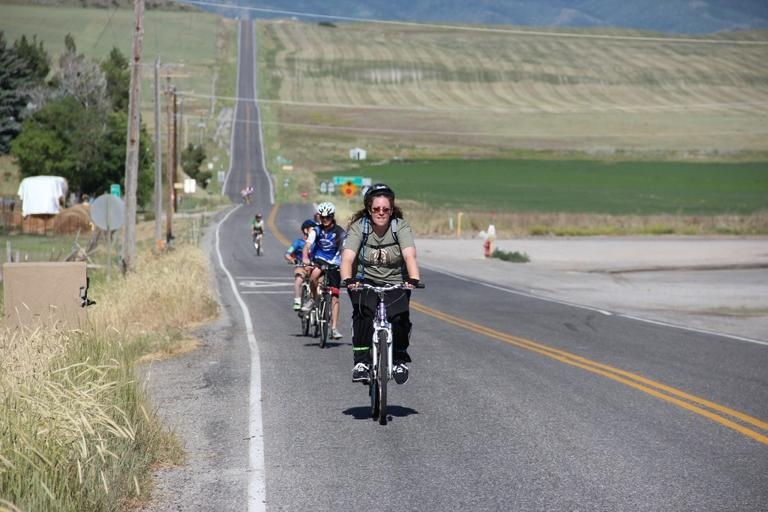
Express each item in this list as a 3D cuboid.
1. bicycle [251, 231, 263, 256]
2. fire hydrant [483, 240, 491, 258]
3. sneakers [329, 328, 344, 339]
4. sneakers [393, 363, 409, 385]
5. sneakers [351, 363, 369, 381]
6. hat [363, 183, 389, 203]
[{"bbox_3d":[-5.586,-0.584,43.566,0.421,1.025,1.298,2,6,-8],"label":"bicycle"},{"bbox_3d":[4.636,-0.361,43.501,0.283,0.729,1.012,3,6,6],"label":"fire hydrant"},{"bbox_3d":[-1.026,1.654,20.584,0.134,0.147,0.321,0,-4,-29],"label":"sneakers"},{"bbox_3d":[0.285,1.956,16.156,0.240,0.303,0.322,1,-19,0],"label":"sneakers"},{"bbox_3d":[-0.369,1.942,16.200,0.338,0.208,0.178,2,-2,16],"label":"sneakers"},{"bbox_3d":[-0.098,-1.047,16.114,0.435,0.305,0.731,2,6,-3],"label":"hat"}]
